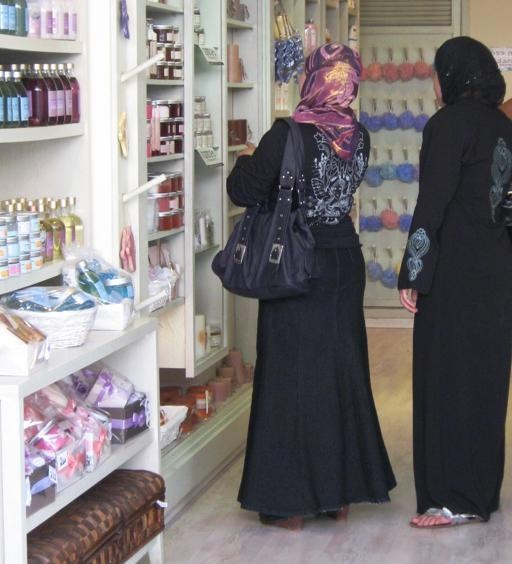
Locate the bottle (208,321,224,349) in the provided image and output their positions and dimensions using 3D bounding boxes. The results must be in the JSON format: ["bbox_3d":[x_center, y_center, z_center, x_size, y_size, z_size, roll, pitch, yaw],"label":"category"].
[{"bbox_3d":[-0.200,0.263,2.770,0.090,0.109,0.097,0,7,7],"label":"bottle"}]

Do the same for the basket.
[{"bbox_3d":[-0.440,0.048,1.422,0.177,0.108,0.288,3,11,22],"label":"basket"}]

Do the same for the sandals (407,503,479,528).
[{"bbox_3d":[0.737,0.933,2.209,0.238,0.071,0.112,1,-11,-1],"label":"sandals"}]
